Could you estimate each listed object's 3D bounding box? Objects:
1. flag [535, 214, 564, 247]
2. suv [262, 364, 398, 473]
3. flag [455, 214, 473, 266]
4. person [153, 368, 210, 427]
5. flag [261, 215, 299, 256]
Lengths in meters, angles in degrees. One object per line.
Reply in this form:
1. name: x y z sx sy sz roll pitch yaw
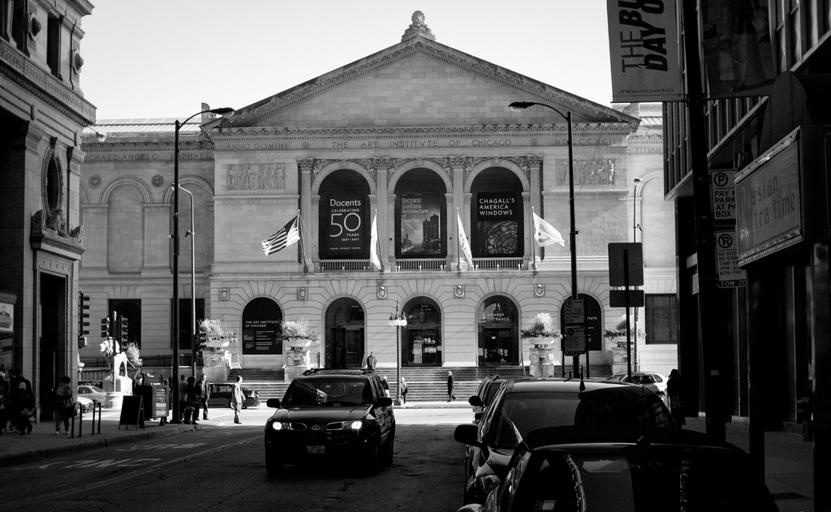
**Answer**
1. flag: 8.086 -1.565 81.706 2.048 2.304 0.506 -1 1 11
2. suv: -2.648 5.062 41.327 4.043 3.365 2.491 1 -12 -19
3. flag: 3.114 -0.568 83.546 0.506 4.039 1.056 -17 33 -17
4. person: -9.993 6.255 60.130 0.829 2.099 1.434 1 7 -15
5. flag: -7.580 -1.415 78.406 1.762 3.794 0.343 12 -42 23
